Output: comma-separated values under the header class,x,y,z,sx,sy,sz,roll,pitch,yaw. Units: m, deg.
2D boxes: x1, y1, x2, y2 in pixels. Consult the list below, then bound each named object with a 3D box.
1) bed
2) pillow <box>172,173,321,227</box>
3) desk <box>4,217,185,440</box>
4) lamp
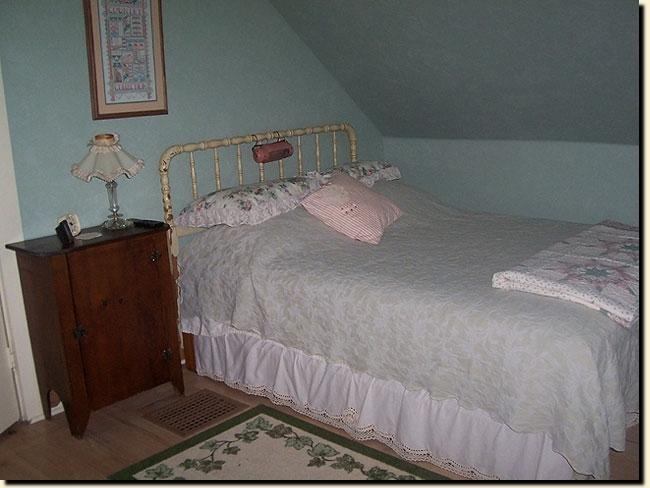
class,x,y,z,sx,sy,sz,roll,pitch,yaw
bed,0.497,0.046,3.111,2.725,1.692,1.863,6,15,38
pillow,-0.464,-0.372,3.113,0.653,0.132,0.397,-20,21,-30
desk,-1.336,0.481,2.707,0.634,1.124,0.908,11,22,31
lamp,-1.261,-0.350,2.840,0.419,0.488,0.417,-7,2,26
